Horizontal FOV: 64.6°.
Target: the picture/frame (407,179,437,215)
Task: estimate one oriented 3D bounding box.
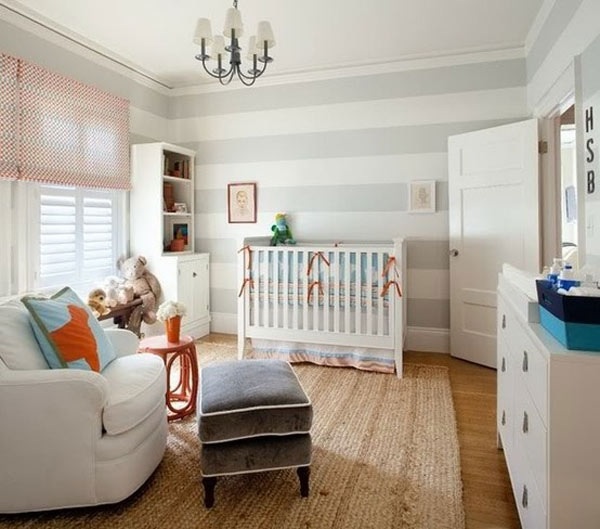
[{"bbox_3d":[1.069,-0.577,4.159,0.231,0.347,0.036,-1,-30,14],"label":"picture/frame"}]

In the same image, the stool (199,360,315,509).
[{"bbox_3d":[-0.231,0.818,2.410,0.542,0.499,0.503,-2,9,-11],"label":"stool"}]

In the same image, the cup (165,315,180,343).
[{"bbox_3d":[-0.786,0.413,2.965,0.120,0.186,0.128,-1,-7,0],"label":"cup"}]

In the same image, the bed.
[{"bbox_3d":[0.277,0.299,4.140,1.241,1.210,0.977,1,1,18],"label":"bed"}]

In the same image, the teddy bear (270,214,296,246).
[{"bbox_3d":[-0.168,-0.303,4.445,0.234,0.359,0.268,-2,1,34],"label":"teddy bear"}]

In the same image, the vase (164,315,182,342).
[{"bbox_3d":[-0.764,0.403,2.961,0.120,0.188,0.131,0,-7,-1],"label":"vase"}]

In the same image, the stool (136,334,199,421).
[{"bbox_3d":[-0.793,0.691,2.969,0.313,0.427,0.319,3,5,41],"label":"stool"}]

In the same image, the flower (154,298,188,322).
[{"bbox_3d":[-0.799,0.281,2.985,0.155,0.194,0.179,-2,-10,38],"label":"flower"}]

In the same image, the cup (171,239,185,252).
[{"bbox_3d":[-1.196,-0.181,4.624,0.101,0.135,0.109,1,3,0],"label":"cup"}]

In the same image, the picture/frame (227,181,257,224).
[{"bbox_3d":[-0.580,-0.582,4.731,0.276,0.446,0.040,-1,-23,-9],"label":"picture/frame"}]

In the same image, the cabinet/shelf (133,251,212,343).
[{"bbox_3d":[-1.145,0.277,4.148,0.258,0.781,0.737,0,3,11],"label":"cabinet/shelf"}]

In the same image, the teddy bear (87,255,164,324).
[{"bbox_3d":[-1.506,0.167,4.053,0.326,0.425,0.599,0,-1,16],"label":"teddy bear"}]

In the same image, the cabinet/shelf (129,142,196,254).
[{"bbox_3d":[-1.320,-0.616,4.636,0.368,1.047,0.677,3,9,22],"label":"cabinet/shelf"}]

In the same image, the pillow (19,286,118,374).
[{"bbox_3d":[-1.158,0.369,2.467,0.213,0.494,0.500,-10,6,-3],"label":"pillow"}]
